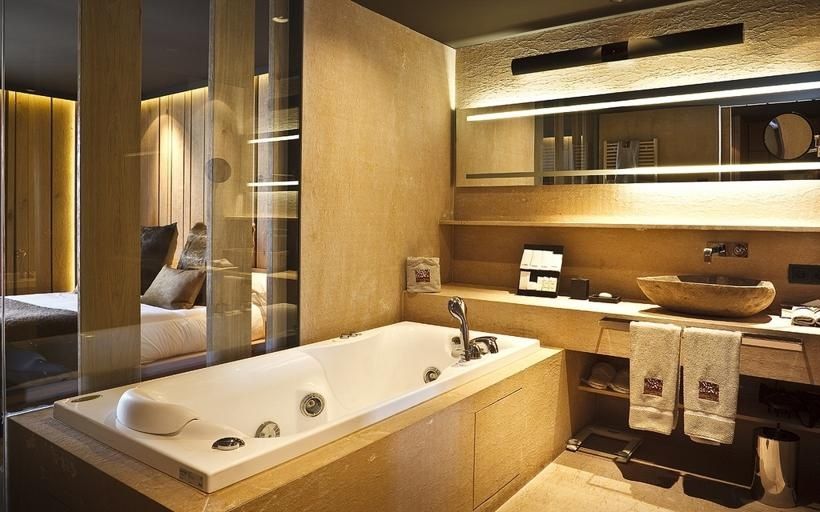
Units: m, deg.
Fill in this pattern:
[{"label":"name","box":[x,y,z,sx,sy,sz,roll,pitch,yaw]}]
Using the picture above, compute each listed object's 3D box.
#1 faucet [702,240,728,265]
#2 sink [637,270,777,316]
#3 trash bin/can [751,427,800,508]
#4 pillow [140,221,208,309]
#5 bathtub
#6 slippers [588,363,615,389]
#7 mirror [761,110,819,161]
[{"label":"faucet","box":[2.259,-0.020,3.679,0.164,0.139,0.165,2,8,31]},{"label":"sink","box":[2.094,0.280,3.547,0.779,0.268,0.607,2,7,31]},{"label":"trash bin/can","box":[2.424,1.398,3.305,0.235,0.433,0.251,3,9,34]},{"label":"pillow","box":[-1.387,0.078,3.055,0.146,0.442,0.470,4,-13,-3]},{"label":"bathtub","box":[-0.606,0.791,3.042,1.006,0.420,1.956,4,6,39]},{"label":"slippers","box":[1.481,0.923,3.868,0.112,0.104,0.308,2,2,30]},{"label":"mirror","box":[2.673,-0.829,3.513,0.283,0.315,0.034,1,8,24]}]
